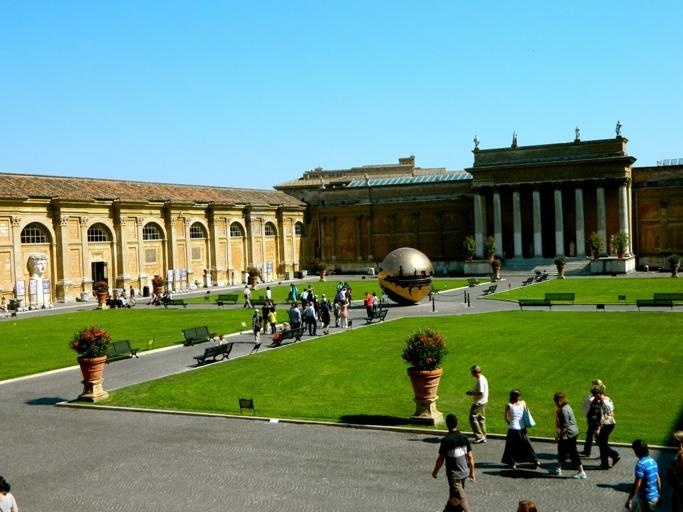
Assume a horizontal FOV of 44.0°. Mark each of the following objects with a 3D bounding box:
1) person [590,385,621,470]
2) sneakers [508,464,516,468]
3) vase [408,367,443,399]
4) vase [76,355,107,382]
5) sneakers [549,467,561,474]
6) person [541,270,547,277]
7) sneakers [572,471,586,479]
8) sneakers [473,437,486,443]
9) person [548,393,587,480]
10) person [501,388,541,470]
[{"bbox_3d":[7.381,4.714,23.639,0.684,2.313,0.536,-3,0,-28],"label":"person"},{"bbox_3d":[4.750,5.810,23.538,0.175,0.091,0.115,-2,13,6],"label":"sneakers"},{"bbox_3d":[2.625,3.929,26.702,1.029,0.689,1.008,-1,1,4],"label":"vase"},{"bbox_3d":[-8.966,4.032,30.705,0.964,0.698,0.937,-1,-6,0],"label":"vase"},{"bbox_3d":[5.875,5.878,23.301,0.134,0.153,0.352,-1,5,-11],"label":"sneakers"},{"bbox_3d":[17.228,1.472,72.589,0.664,0.686,0.699,0,9,14],"label":"person"},{"bbox_3d":[6.507,5.923,23.083,0.331,0.164,0.284,-3,0,15],"label":"sneakers"},{"bbox_3d":[4.107,5.466,25.215,0.370,0.151,0.130,4,-5,3],"label":"sneakers"},{"bbox_3d":[6.278,4.878,23.414,0.808,2.322,0.942,-3,0,14],"label":"person"},{"bbox_3d":[4.877,4.774,23.493,0.923,2.132,0.419,-3,0,8],"label":"person"}]
